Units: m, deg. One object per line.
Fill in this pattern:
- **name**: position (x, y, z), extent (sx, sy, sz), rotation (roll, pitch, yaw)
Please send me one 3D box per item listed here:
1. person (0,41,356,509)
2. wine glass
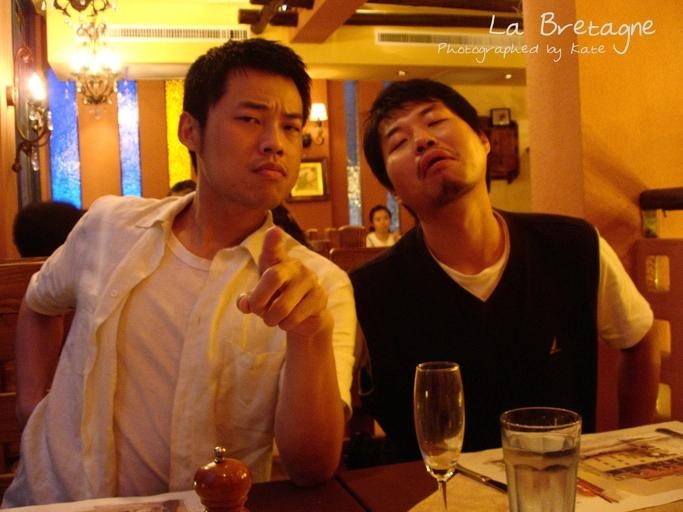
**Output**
- **person**: position (-0.502, 0.030, 1.799), extent (1.068, 1.368, 0.556), rotation (0, 3, 19)
- **wine glass**: position (0.218, 0.401, 1.357), extent (0.108, 0.286, 0.122), rotation (0, 3, 9)
